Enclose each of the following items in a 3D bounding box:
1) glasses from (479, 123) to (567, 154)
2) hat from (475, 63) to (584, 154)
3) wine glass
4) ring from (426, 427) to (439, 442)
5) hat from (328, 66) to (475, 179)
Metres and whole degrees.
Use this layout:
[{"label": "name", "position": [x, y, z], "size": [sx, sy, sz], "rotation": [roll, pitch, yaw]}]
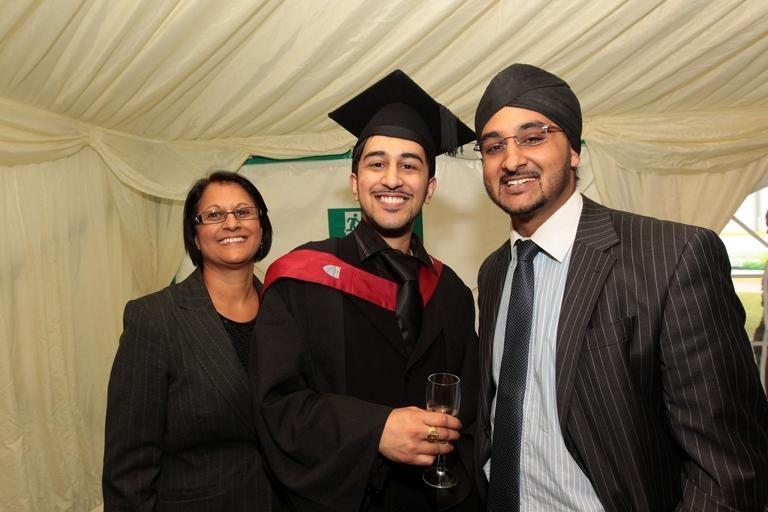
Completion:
[{"label": "glasses", "position": [0.757, -0.653, 3.228], "size": [0.218, 0.074, 0.228], "rotation": [-18, -1, 32]}, {"label": "hat", "position": [0.890, -0.867, 3.359], "size": [0.490, 0.429, 0.506], "rotation": [22, -6, 42]}, {"label": "wine glass", "position": [0.329, 0.994, 3.330], "size": [0.216, 0.658, 0.337], "rotation": [-1, -5, 7]}, {"label": "ring", "position": [0.265, 0.961, 3.163], "size": [0.053, 0.078, 0.018], "rotation": [0, -5, 3]}, {"label": "hat", "position": [0.168, -0.881, 3.744], "size": [0.767, 0.440, 0.751], "rotation": [34, -46, -30]}]
